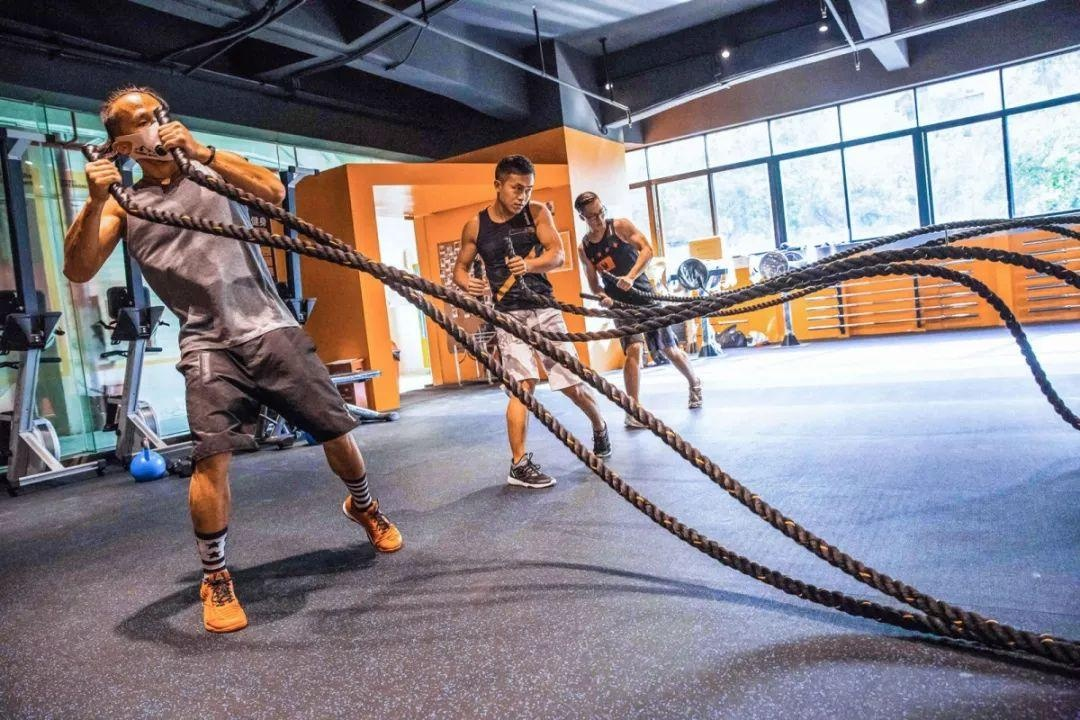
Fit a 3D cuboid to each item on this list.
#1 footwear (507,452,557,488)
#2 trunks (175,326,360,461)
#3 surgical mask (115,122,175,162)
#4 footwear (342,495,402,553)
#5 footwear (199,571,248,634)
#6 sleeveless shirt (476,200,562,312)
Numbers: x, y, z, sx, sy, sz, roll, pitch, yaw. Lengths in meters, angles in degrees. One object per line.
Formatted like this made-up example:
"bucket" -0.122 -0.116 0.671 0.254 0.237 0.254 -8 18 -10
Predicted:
"footwear" -0.072 0.685 4.105 0.353 0.199 0.135 -1 -4 18
"trunks" -1.197 0.152 2.898 0.753 0.505 0.291 -13 -2 -37
"surgical mask" -1.575 -0.876 2.691 0.186 0.107 0.132 -2 16 -3
"footwear" -0.852 0.839 3.406 0.127 0.341 0.133 -40 -15 -49
"footwear" -1.310 1.005 2.782 0.131 0.138 0.328 2 -6 -36
"sleeveless shirt" -0.184 -0.631 4.264 0.421 0.681 0.254 -5 9 9
